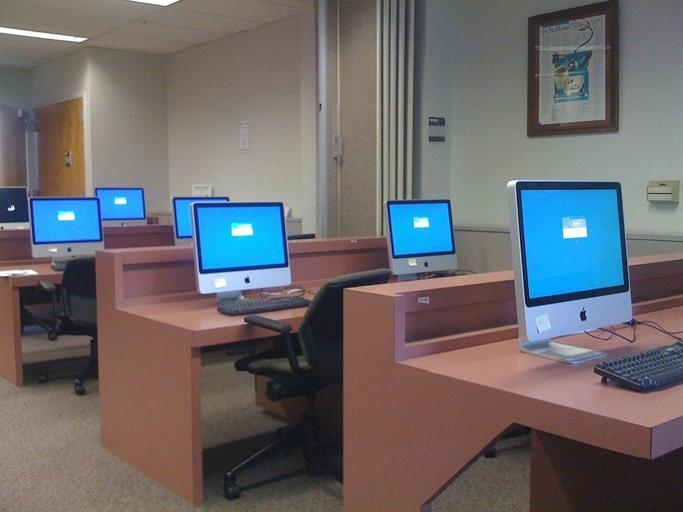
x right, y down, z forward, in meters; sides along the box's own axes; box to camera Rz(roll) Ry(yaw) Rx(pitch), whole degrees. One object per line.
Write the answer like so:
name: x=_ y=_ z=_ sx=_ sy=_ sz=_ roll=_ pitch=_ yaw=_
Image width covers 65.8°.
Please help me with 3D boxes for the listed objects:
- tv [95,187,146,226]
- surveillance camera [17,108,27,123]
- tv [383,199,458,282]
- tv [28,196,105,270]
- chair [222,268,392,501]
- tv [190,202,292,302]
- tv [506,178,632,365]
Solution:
tv: x=-2.710 y=-0.608 z=6.543 sx=0.540 sy=0.441 sz=0.163 roll=-5 pitch=8 yaw=-30
surveillance camera: x=-5.407 y=-2.379 z=8.984 sx=0.042 sy=0.154 sz=0.159 roll=3 pitch=4 yaw=16
tv: x=0.517 y=-0.105 z=3.537 sx=0.528 sy=0.505 sz=0.185 roll=-5 pitch=-4 yaw=-32
tv: x=-2.257 y=-0.185 z=4.358 sx=0.572 sy=0.596 sz=0.200 roll=-2 pitch=-2 yaw=-42
chair: x=-0.191 y=0.629 z=2.733 sx=0.764 sy=1.062 sz=0.684 roll=-3 pitch=-1 yaw=43
tv: x=-0.564 y=-0.022 z=2.926 sx=0.512 sy=0.484 sz=0.196 roll=-3 pitch=-6 yaw=-33
tv: x=0.753 y=0.049 z=1.834 sx=0.559 sy=0.580 sz=0.205 roll=-4 pitch=4 yaw=-31
